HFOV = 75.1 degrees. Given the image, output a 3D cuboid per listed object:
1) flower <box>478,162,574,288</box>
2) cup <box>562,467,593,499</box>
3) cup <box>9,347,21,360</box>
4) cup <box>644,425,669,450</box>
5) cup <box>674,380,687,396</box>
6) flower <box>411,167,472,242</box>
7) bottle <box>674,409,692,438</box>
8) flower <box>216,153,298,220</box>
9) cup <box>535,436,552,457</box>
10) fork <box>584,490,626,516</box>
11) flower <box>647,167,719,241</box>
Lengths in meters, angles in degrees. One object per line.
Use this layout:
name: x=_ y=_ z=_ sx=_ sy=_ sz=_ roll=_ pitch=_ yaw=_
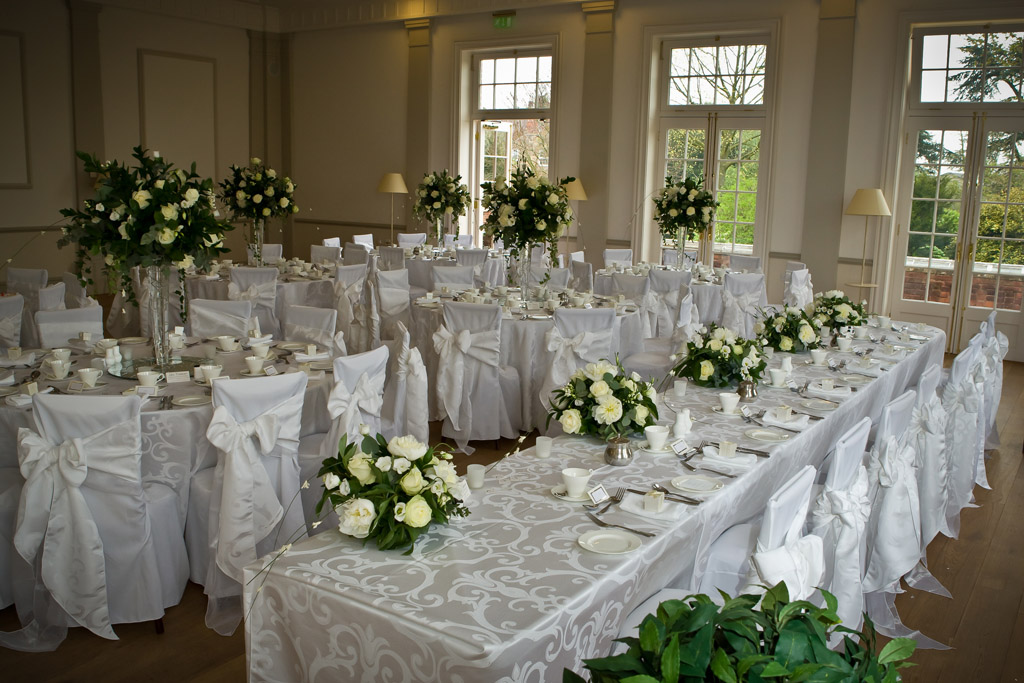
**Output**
flower: x=0.165 y=-1.075 z=6.131 sx=0.655 sy=0.795 sz=0.538 roll=-14 pitch=16 yaw=-42
cup: x=0.270 y=0.605 z=2.816 sx=0.086 sy=0.090 sz=0.125 roll=0 pitch=-2 yaw=5
cup: x=-3.169 y=0.078 z=4.251 sx=0.075 sy=0.085 sz=0.034 roll=11 pitch=-3 yaw=-8
cup: x=0.726 y=0.470 z=3.277 sx=0.188 sy=0.114 sz=0.090 roll=-8 pitch=11 yaw=-43
cup: x=0.996 y=0.276 z=3.960 sx=0.072 sy=0.090 sz=0.077 roll=0 pitch=8 yaw=0
flower: x=-1.134 y=-2.289 z=10.784 sx=0.907 sy=1.266 sz=3.261 roll=-1 pitch=8 yaw=-4
bottle: x=0.874 y=0.430 z=3.415 sx=0.059 sy=0.119 sz=0.097 roll=11 pitch=11 yaw=35
flower: x=-2.857 y=-1.594 z=7.537 sx=0.718 sy=0.813 sz=0.759 roll=8 pitch=0 yaw=-31
cup: x=0.145 y=0.499 z=3.178 sx=0.077 sy=0.091 sz=0.082 roll=2 pitch=5 yaw=0
fork: x=0.385 y=0.662 z=2.738 sx=0.065 sy=0.051 sz=0.245 roll=30 pitch=19 yaw=20
flower: x=2.146 y=-1.638 z=8.226 sx=0.884 sy=0.987 sz=0.878 roll=-13 pitch=18 yaw=-40
